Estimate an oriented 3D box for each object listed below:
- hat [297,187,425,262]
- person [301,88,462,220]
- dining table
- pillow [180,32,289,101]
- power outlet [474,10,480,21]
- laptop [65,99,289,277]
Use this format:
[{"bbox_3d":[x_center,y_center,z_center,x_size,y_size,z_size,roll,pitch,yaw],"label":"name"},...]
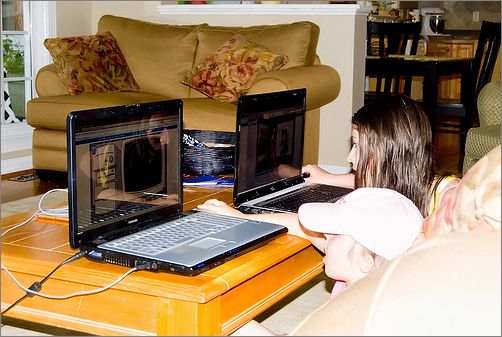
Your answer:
[{"bbox_3d":[0.262,0.116,1.000,0.137,0.156,0.325,-11,17,-40],"label":"hat"},{"bbox_3d":[0.463,-0.053,1.222,0.765,0.292,0.231,-3,12,7],"label":"person"},{"bbox_3d":[1.719,-0.660,4.046,1.025,0.732,1.033,5,11,27],"label":"dining table"},{"bbox_3d":[-0.166,-0.897,3.435,0.919,0.595,0.348,10,16,35],"label":"pillow"},{"bbox_3d":[4.498,-3.022,7.704,0.114,0.204,0.018,7,15,25],"label":"power outlet"},{"bbox_3d":[-0.208,0.050,1.157,0.485,0.464,0.629,7,7,25],"label":"laptop"}]
